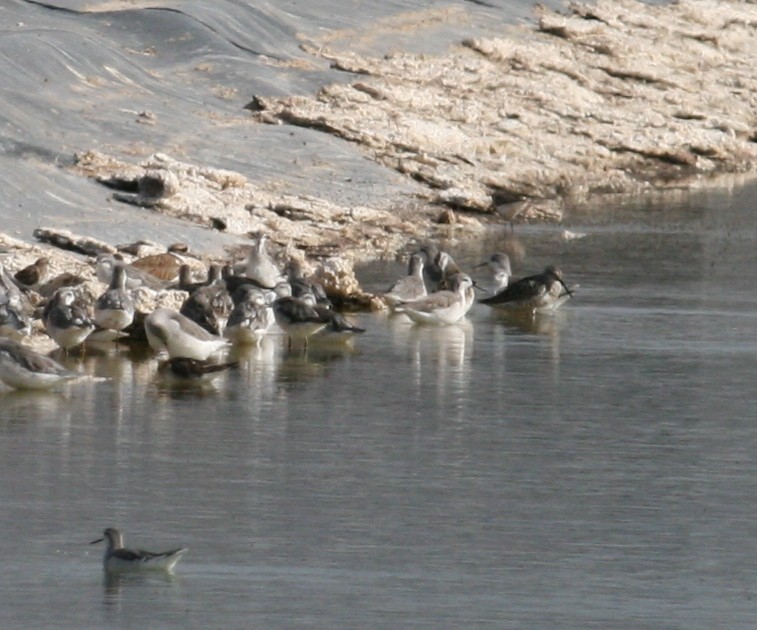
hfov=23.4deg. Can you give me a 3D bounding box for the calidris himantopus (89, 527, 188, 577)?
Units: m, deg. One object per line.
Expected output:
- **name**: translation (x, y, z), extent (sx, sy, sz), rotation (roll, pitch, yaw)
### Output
- **calidris himantopus**: translation (-2.814, 2.727, 20.827), extent (1.219, 0.575, 0.356), rotation (-3, -13, 26)
